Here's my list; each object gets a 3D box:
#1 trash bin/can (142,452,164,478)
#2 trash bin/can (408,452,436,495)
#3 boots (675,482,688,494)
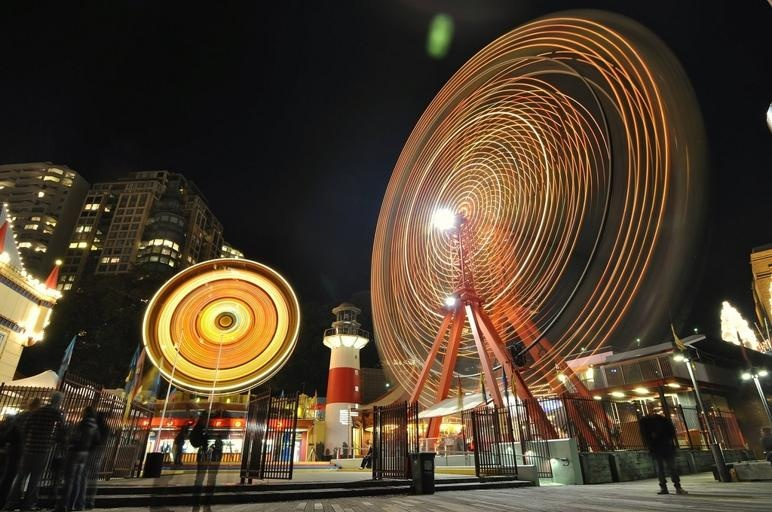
[{"bbox_3d":[-9.282,8.175,17.183,0.652,0.904,0.735,12,-30,-24],"label":"trash bin/can"},{"bbox_3d":[1.272,7.371,14.905,0.678,1.267,0.868,6,-28,-12],"label":"trash bin/can"},{"bbox_3d":[9.044,7.048,13.251,0.302,0.281,0.496,-16,-31,26],"label":"boots"}]
